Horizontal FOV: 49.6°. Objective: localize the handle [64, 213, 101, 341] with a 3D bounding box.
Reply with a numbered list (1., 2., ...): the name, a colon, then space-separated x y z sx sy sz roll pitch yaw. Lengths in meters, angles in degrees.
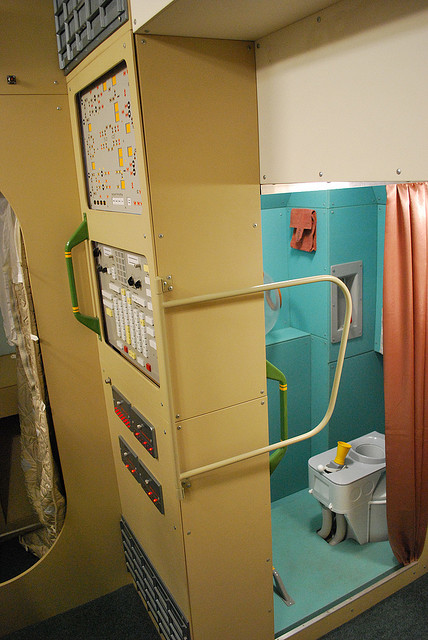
1. handle: -0.495 -0.146 1.735 0.091 0.485 0.033 -7 2 -8
